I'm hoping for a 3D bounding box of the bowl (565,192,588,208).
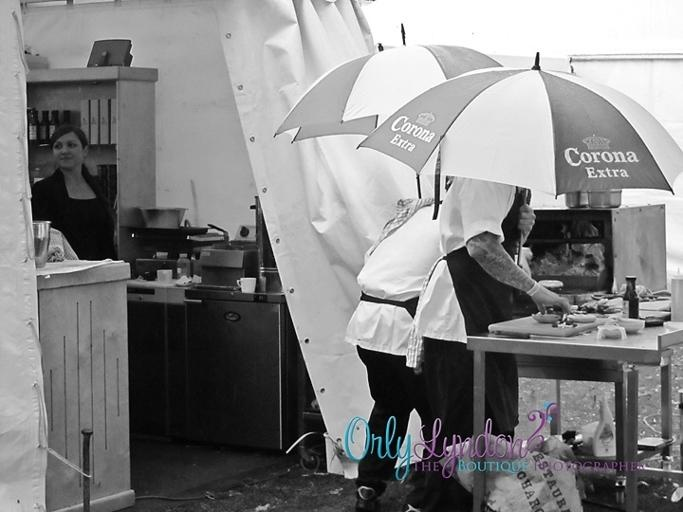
[{"bbox_3d":[1.448,-0.344,4.782,0.119,0.094,0.124,0,-2,0],"label":"bowl"}]

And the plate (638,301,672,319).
[{"bbox_3d":[1.580,0.270,3.937,0.138,0.035,0.132,1,3,35],"label":"plate"}]

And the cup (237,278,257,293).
[{"bbox_3d":[-0.634,0.201,5.256,0.110,0.103,0.107,-2,2,0],"label":"cup"}]

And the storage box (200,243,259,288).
[{"bbox_3d":[-0.799,0.066,5.518,0.364,0.288,0.267,2,4,22],"label":"storage box"}]

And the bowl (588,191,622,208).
[{"bbox_3d":[1.626,-0.344,4.802,0.128,0.085,0.134,0,0,0],"label":"bowl"}]

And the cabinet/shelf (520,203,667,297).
[{"bbox_3d":[1.671,-0.094,5.078,0.806,0.455,0.793,-8,9,-24],"label":"cabinet/shelf"}]

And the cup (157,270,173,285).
[{"bbox_3d":[-1.310,0.166,5.801,0.113,0.091,0.092,-1,-1,30],"label":"cup"}]

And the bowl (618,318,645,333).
[{"bbox_3d":[1.271,0.296,3.432,0.080,0.045,0.071,-7,8,-35],"label":"bowl"}]
